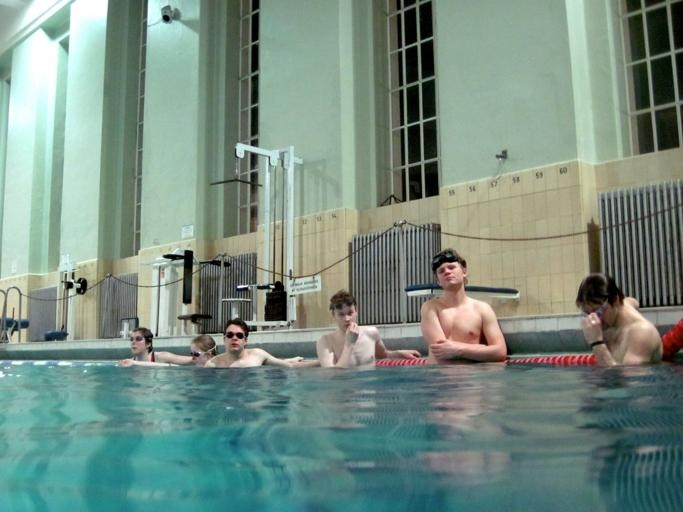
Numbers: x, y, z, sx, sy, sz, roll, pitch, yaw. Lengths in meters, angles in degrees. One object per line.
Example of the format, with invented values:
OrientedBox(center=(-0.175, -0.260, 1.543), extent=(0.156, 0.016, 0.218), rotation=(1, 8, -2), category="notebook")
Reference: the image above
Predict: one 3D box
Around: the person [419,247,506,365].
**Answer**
OrientedBox(center=(0.832, 0.341, 4.087), extent=(0.527, 0.801, 0.427), rotation=(-3, -5, -5), category="person")

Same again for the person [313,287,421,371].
OrientedBox(center=(0.138, 0.535, 4.403), extent=(0.720, 0.557, 0.477), rotation=(0, -6, -34), category="person")

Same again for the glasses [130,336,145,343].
OrientedBox(center=(-1.891, 0.765, 5.391), extent=(0.140, 0.055, 0.080), rotation=(-4, -5, 9), category="glasses")

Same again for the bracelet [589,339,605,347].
OrientedBox(center=(1.411, 0.484, 3.230), extent=(0.075, 0.041, 0.055), rotation=(-4, -5, 6), category="bracelet")

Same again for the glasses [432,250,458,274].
OrientedBox(center=(0.755, 0.022, 4.243), extent=(0.132, 0.081, 0.180), rotation=(-14, -37, 18), category="glasses")

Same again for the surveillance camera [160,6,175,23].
OrientedBox(center=(-3.618, -4.999, 12.157), extent=(0.231, 0.314, 0.437), rotation=(-2, -5, -18), category="surveillance camera")

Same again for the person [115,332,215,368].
OrientedBox(center=(-1.605, 0.905, 5.468), extent=(0.752, 0.324, 0.531), rotation=(8, -12, -36), category="person")

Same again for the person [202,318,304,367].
OrientedBox(center=(-0.722, 0.697, 4.674), extent=(0.713, 0.401, 0.570), rotation=(-2, -5, -15), category="person")

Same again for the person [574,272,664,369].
OrientedBox(center=(1.616, 0.423, 3.437), extent=(0.421, 0.609, 0.827), rotation=(-4, 5, 17), category="person")

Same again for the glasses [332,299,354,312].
OrientedBox(center=(0.007, 0.366, 4.273), extent=(0.081, 0.057, 0.105), rotation=(2, -14, -26), category="glasses")
